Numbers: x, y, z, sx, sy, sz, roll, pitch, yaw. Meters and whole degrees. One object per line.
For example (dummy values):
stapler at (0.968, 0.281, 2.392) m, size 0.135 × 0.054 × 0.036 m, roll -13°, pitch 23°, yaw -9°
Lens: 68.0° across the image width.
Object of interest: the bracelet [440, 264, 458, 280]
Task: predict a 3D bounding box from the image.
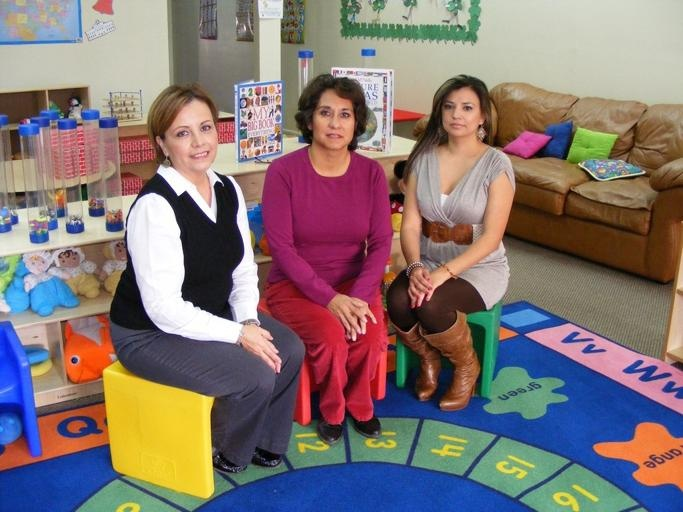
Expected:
bracelet at (0.495, 0.071, 2.338) m, size 0.073 × 0.030 × 0.059 m, roll 40°, pitch -3°, yaw -43°

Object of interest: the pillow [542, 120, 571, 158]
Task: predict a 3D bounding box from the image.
pillow at (2.072, -1.112, 4.840) m, size 0.098 × 0.341 × 0.344 m, roll 16°, pitch -3°, yaw -34°

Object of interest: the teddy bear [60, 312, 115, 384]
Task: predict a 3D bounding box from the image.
teddy bear at (-1.179, 0.449, 2.394) m, size 0.306 × 0.330 × 0.139 m, roll -7°, pitch -23°, yaw -3°

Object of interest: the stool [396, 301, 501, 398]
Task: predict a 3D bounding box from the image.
stool at (0.555, 0.421, 2.577) m, size 0.536 × 0.464 × 0.430 m, roll 9°, pitch 18°, yaw 34°

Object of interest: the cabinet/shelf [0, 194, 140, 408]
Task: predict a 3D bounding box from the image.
cabinet/shelf at (-1.191, 0.203, 2.162) m, size 0.772 × 0.696 × 0.294 m, roll -14°, pitch 22°, yaw -37°

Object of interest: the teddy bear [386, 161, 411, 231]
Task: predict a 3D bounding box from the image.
teddy bear at (0.325, -0.374, 3.084) m, size 0.236 × 0.354 × 0.181 m, roll 0°, pitch -31°, yaw 2°

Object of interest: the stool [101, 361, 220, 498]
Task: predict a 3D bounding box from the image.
stool at (-0.645, 0.638, 2.062) m, size 0.431 × 0.482 × 0.450 m, roll 8°, pitch 12°, yaw 14°

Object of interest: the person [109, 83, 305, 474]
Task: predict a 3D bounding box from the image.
person at (-0.544, 0.138, 1.833) m, size 0.581 × 1.426 × 0.471 m, roll -12°, pitch 21°, yaw -27°

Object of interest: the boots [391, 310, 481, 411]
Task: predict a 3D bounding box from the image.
boots at (0.502, 0.479, 2.467) m, size 0.393 × 0.467 × 0.505 m, roll -2°, pitch -24°, yaw 40°

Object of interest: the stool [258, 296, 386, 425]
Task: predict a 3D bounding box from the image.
stool at (-0.035, 0.551, 2.480) m, size 0.555 × 0.574 × 0.531 m, roll -15°, pitch 27°, yaw -39°

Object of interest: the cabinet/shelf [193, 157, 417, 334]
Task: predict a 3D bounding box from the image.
cabinet/shelf at (-0.053, -0.132, 2.382) m, size 0.576 × 0.695 × 0.520 m, roll 2°, pitch 10°, yaw 1°
